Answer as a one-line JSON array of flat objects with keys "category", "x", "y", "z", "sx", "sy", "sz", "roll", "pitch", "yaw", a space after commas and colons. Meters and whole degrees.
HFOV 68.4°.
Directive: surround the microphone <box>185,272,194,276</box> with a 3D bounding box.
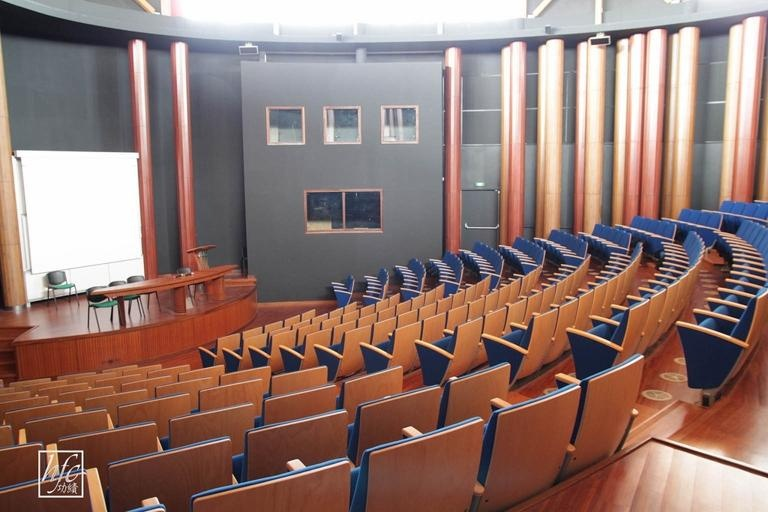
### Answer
[{"category": "microphone", "x": -3.097, "y": 0.261, "z": 9.000, "sx": 0.169, "sy": 0.047, "sz": 0.041, "roll": -1, "pitch": 17, "yaw": 41}]
